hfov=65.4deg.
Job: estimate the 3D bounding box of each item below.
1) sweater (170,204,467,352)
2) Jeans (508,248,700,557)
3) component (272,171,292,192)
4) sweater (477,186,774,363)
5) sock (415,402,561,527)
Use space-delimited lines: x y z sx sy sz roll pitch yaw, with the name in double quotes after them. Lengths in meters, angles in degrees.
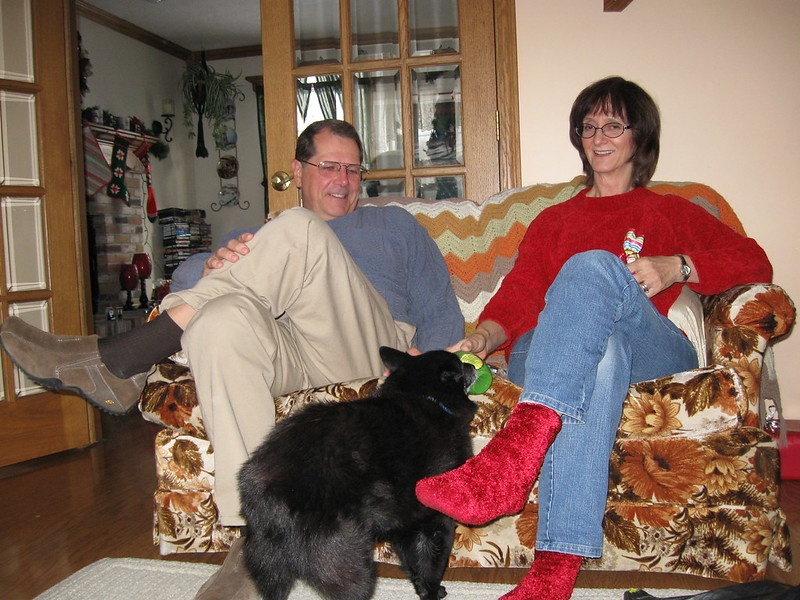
-0.122 -0.034 2.371 0.715 0.276 0.711 26 36 33 "sweater"
0.484 0.231 1.748 0.534 0.812 0.225 23 -17 -4 "Jeans"
-0.621 -0.625 3.264 0.100 0.100 0.030 6 9 9 "component"
0.762 -0.203 2.172 1.061 0.422 0.594 -10 17 26 "sweater"
0.236 0.420 1.563 0.231 0.087 0.361 23 56 36 "sock"
